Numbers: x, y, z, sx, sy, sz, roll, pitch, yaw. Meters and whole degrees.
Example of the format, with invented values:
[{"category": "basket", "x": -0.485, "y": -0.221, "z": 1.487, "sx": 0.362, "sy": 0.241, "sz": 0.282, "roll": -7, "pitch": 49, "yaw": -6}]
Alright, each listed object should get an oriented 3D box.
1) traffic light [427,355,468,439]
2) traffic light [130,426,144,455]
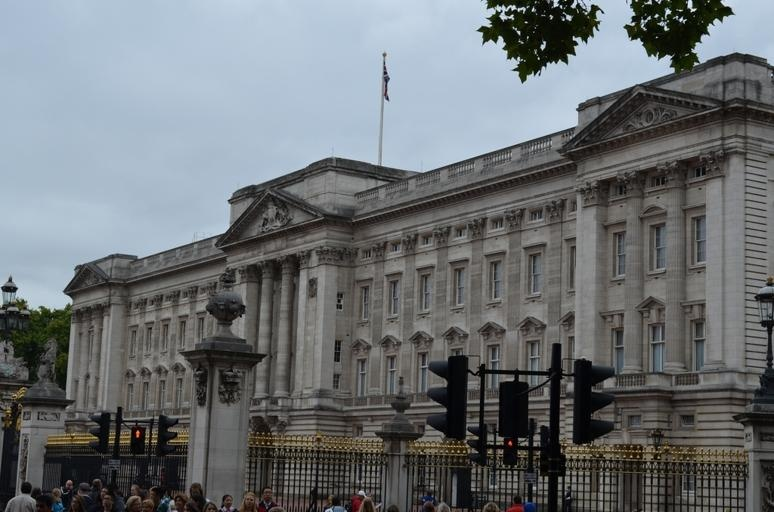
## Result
[{"category": "traffic light", "x": 1.437, "y": 3.303, "z": 31.979, "sx": 0.916, "sy": 2.107, "sz": 1.293, "roll": 2, "pitch": -19, "yaw": 2}, {"category": "traffic light", "x": -7.409, "y": 5.415, "z": 39.895, "sx": 0.426, "sy": 0.803, "sz": 0.781, "roll": 6, "pitch": -19, "yaw": -10}]
